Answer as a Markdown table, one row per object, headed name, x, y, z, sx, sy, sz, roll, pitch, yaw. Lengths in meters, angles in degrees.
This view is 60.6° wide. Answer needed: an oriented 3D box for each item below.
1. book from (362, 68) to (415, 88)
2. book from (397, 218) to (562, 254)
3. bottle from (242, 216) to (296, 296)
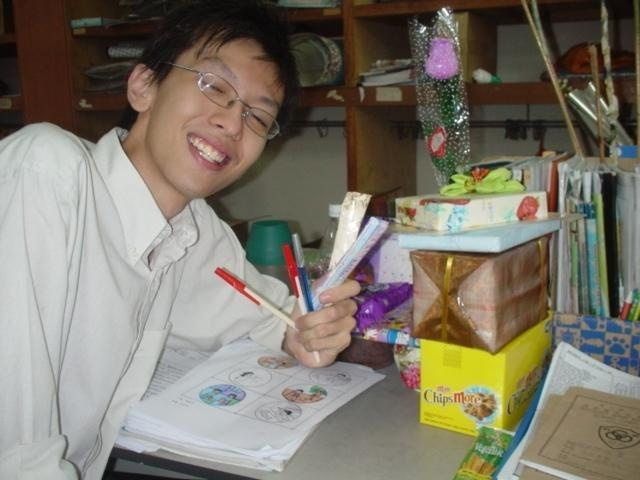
| name | x | y | z | sx | sy | sz | roll | pitch | yaw |
| --- | --- | --- | --- | --- | --- | --- | --- | --- | --- |
| book | 0.259 | -0.598 | 2.002 | 0.144 | 0.046 | 0.141 | -11 | 16 | -18 |
| book | 0.315 | -0.005 | 0.971 | 0.351 | 0.038 | 0.145 | -5 | 12 | -15 |
| bottle | -0.193 | 0.072 | 1.569 | 0.166 | 0.188 | 0.169 | 2 | -20 | -30 |
